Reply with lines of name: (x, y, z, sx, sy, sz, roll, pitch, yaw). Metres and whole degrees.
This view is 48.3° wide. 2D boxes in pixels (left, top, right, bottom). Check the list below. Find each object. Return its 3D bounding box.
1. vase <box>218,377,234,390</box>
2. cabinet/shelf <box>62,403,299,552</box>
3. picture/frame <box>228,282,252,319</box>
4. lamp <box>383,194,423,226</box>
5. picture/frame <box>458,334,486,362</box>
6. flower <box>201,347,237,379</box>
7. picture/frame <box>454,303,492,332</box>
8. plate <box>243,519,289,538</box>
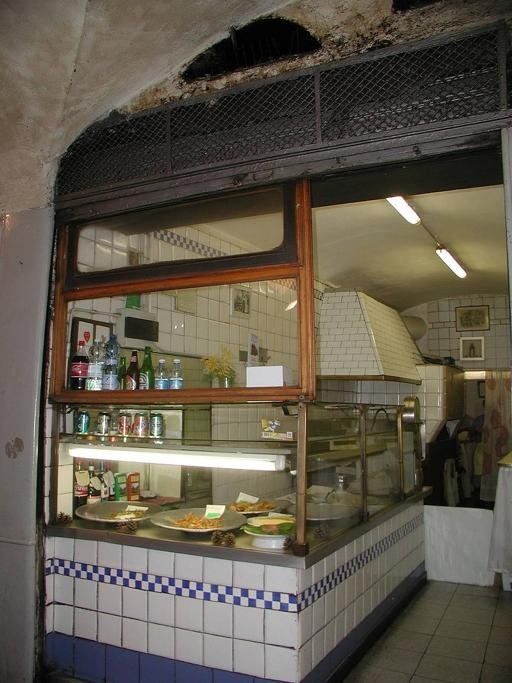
vase: (-0.143, 0.196, 2.699, 0.055, 0.051, 0.051, 0, -2, -10)
cabinet/shelf: (-0.470, 0.684, 3.105, 1.393, 0.721, 0.669, -1, -3, 16)
picture/frame: (-0.080, -0.224, 2.949, 0.154, 0.170, 0.018, 17, 45, 22)
lamp: (1.220, -1.105, 4.754, 0.157, 0.036, 0.495, -21, -23, 31)
picture/frame: (3.402, 0.093, 8.961, 0.447, 0.483, 0.033, 1, -5, 27)
flower: (-0.182, 0.109, 2.794, 0.135, 0.128, 0.154, -8, 10, -17)
picture/frame: (3.426, -0.384, 8.977, 0.471, 0.394, 0.039, 2, 0, 30)
plate: (0.057, 0.880, 2.717, 0.226, 0.045, 0.217, 1, -5, 2)
